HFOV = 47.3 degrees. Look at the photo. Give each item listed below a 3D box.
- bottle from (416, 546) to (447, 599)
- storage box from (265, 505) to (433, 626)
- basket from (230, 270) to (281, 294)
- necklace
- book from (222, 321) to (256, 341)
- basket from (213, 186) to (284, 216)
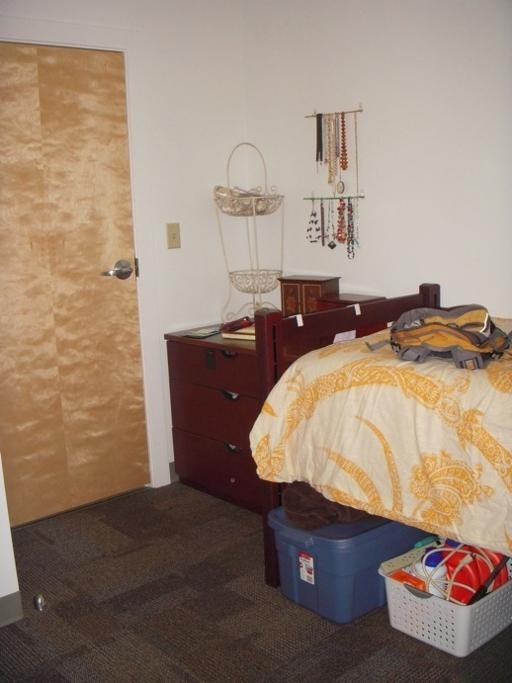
[{"bbox_3d":[0.463,0.589,1.509,0.059,0.034,0.096,-12,22,14],"label":"bottle"},{"bbox_3d":[0.275,0.647,1.760,0.417,0.236,0.281,-13,15,-40],"label":"storage box"},{"bbox_3d":[0.013,-0.277,2.680,0.175,0.071,0.177,7,14,30],"label":"basket"},{"bbox_3d":[0.339,-0.693,2.610,0.059,0.646,0.363,-10,10,-34],"label":"necklace"},{"bbox_3d":[-0.068,-0.031,2.449,0.050,0.047,0.175,-11,11,-42],"label":"book"},{"bbox_3d":[-0.022,-0.614,2.512,0.270,0.143,0.263,-1,8,14],"label":"basket"}]
